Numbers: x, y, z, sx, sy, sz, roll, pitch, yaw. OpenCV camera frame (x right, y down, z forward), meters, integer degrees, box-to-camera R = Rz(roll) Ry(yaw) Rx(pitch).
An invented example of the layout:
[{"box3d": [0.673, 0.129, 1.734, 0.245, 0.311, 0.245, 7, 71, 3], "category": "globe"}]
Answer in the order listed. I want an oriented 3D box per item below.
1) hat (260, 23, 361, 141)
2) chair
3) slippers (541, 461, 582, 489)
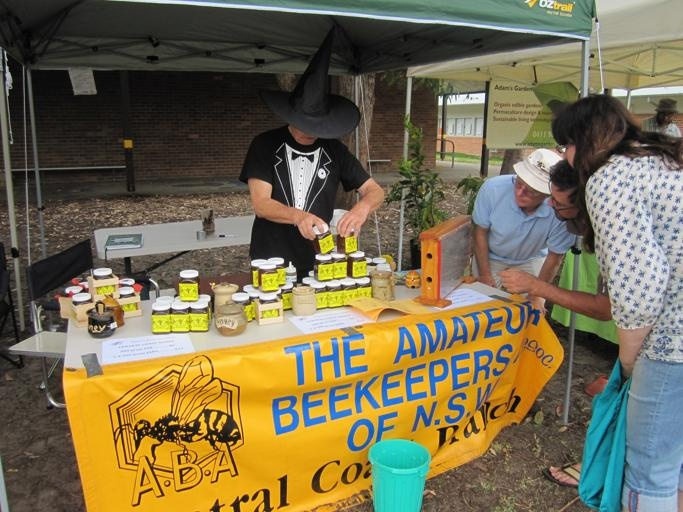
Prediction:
[{"box3d": [-0.148, -1.079, 3.196, 0.618, 0.683, 0.435, -14, 19, -42], "category": "hat"}, {"box3d": [-1.820, 0.393, 3.903, 0.824, 0.885, 0.823, 7, 25, -4], "category": "chair"}, {"box3d": [1.394, 1.380, 3.239, 0.226, 0.050, 0.210, 1, 5, -25], "category": "slippers"}]
